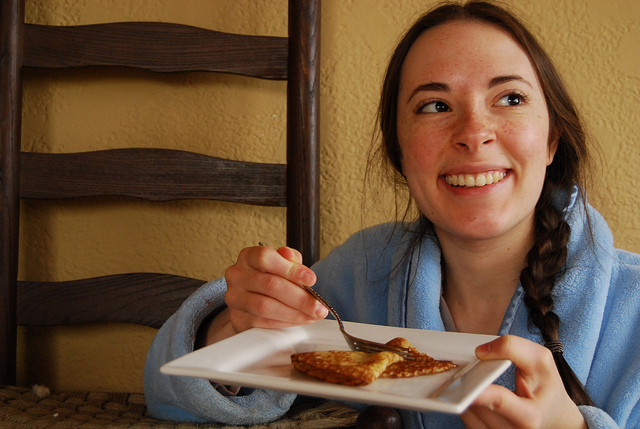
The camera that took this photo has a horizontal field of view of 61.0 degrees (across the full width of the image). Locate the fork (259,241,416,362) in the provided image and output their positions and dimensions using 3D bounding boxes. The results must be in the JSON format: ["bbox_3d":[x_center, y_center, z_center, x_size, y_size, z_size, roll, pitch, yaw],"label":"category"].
[{"bbox_3d":[-0.037,0.132,1.193,0.074,0.065,0.596,-24,34,-31],"label":"fork"}]

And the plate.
[{"bbox_3d":[0.053,0.259,0.955,0.511,0.047,0.372,3,9,24],"label":"plate"}]
